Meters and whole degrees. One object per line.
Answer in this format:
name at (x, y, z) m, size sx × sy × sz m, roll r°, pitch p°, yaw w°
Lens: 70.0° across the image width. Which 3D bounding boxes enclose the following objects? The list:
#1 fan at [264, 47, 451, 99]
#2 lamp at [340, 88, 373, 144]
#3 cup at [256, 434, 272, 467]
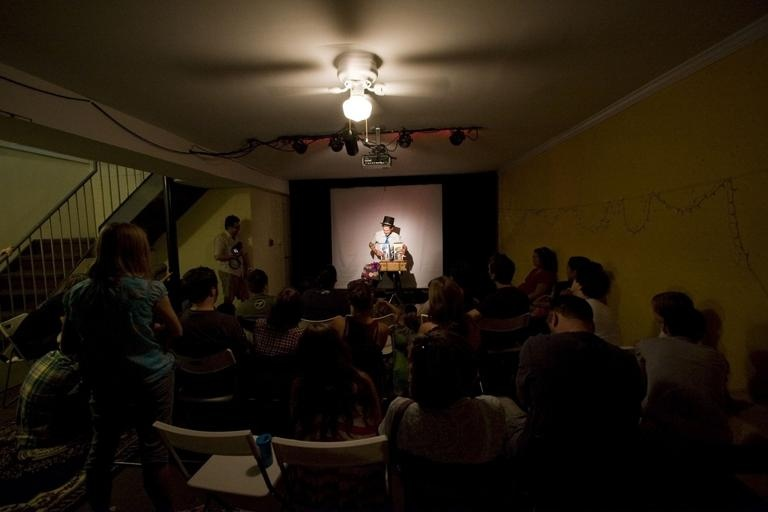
fan at (-0.200, -1.674, 4.948) m, size 1.206 × 0.252 × 1.082 m, roll 6°, pitch 15°, yaw 13°
lamp at (-0.245, -1.364, 5.153) m, size 0.251 × 0.473 × 0.261 m, roll -2°, pitch 10°, yaw -11°
cup at (-0.892, 1.466, 4.106) m, size 0.137 × 0.230 × 0.255 m, roll 3°, pitch -3°, yaw -13°
